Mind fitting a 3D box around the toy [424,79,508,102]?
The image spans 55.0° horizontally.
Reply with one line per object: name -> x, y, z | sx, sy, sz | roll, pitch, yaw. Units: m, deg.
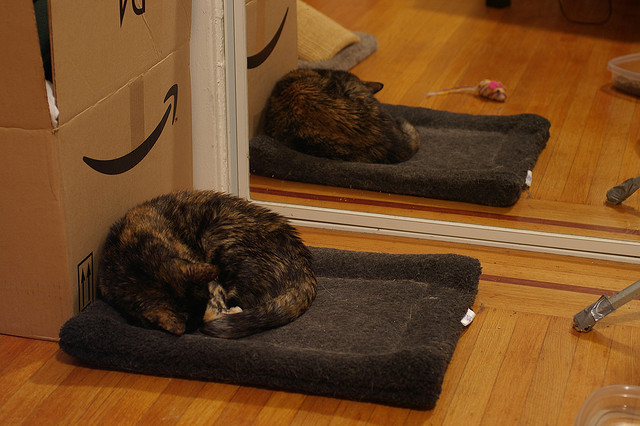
toy -> 0.756, -0.637, 3.284 | 0.449, 0.103, 0.111 | 7, 63, 32

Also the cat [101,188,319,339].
cat -> -0.383, 0.176, 2.076 | 0.549, 0.188, 0.494 | 21, 50, 11

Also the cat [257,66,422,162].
cat -> 0.077, -0.468, 2.936 | 0.616, 0.223, 0.462 | 29, 36, 18
